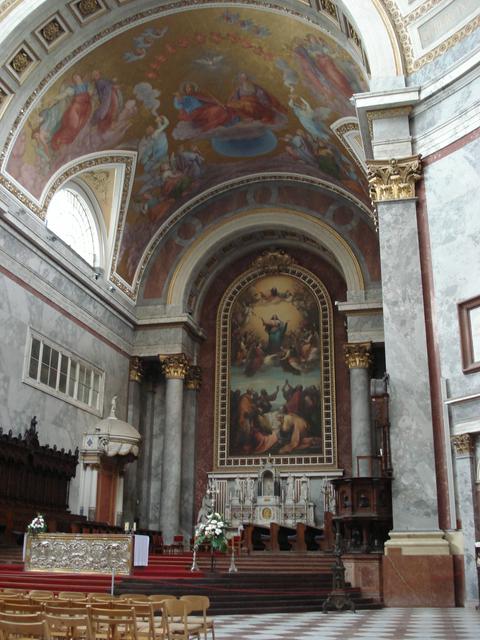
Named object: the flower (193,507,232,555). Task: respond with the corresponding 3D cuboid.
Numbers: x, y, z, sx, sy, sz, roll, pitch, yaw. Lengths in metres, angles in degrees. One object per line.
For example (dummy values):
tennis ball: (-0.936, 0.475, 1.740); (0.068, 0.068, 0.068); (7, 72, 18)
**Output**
flower: (-0.569, 4.064, 10.515); (0.598, 0.668, 1.108); (1, -19, -5)
